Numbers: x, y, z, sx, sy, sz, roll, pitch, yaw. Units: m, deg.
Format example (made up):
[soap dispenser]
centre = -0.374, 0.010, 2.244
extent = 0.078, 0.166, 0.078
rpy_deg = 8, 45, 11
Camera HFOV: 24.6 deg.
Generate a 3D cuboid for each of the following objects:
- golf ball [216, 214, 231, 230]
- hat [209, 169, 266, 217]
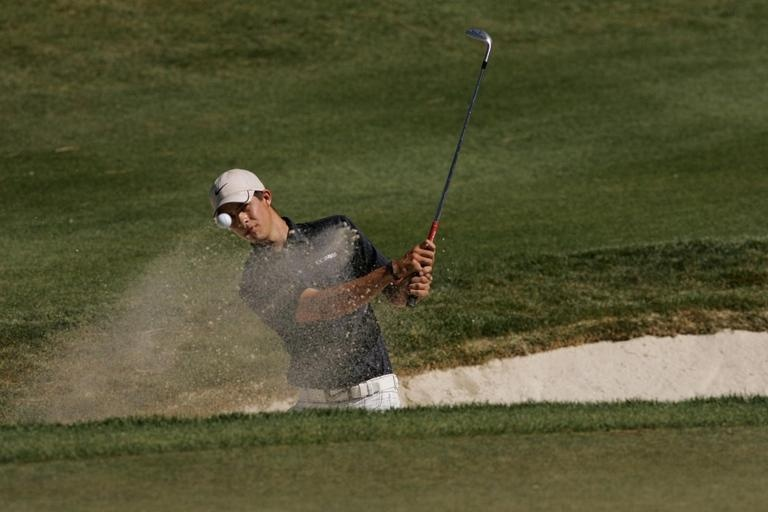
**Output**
[golf ball]
centre = -2.285, -0.561, 24.980
extent = 0.204, 0.205, 0.190
rpy_deg = -10, 72, 35
[hat]
centre = -2.104, -1.006, 25.043
extent = 0.743, 0.491, 0.451
rpy_deg = -4, 43, -12
